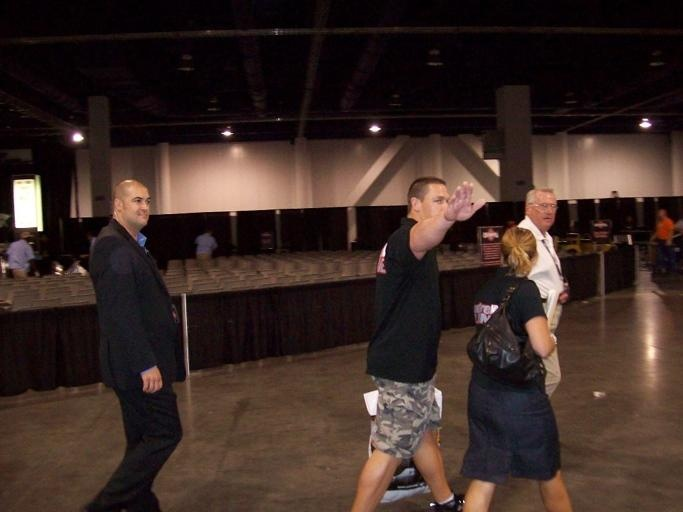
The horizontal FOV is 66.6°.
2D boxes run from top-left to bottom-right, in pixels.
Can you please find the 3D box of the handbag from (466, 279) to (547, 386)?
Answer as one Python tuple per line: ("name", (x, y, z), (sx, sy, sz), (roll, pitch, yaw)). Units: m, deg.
("handbag", (0.994, 0.468, 3.170), (0.381, 0.634, 0.273), (-3, 4, -22))
